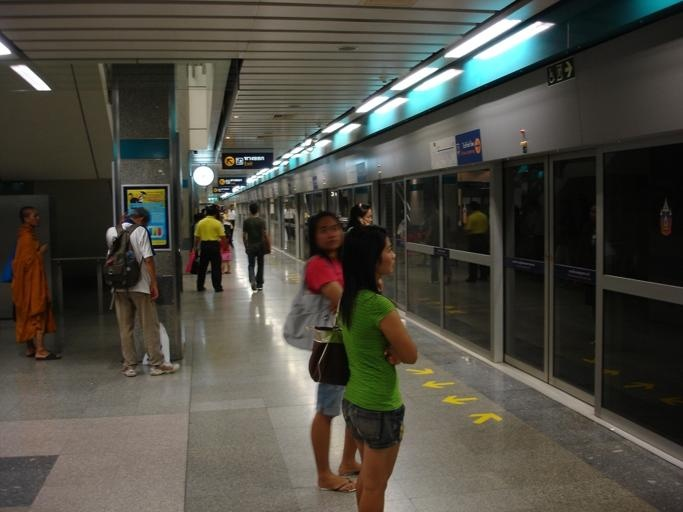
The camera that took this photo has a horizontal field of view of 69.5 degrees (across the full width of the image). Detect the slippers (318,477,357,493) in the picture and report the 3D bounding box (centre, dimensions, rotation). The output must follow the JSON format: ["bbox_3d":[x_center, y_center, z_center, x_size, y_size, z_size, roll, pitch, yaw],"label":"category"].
[{"bbox_3d":[-0.030,1.594,3.426,0.211,0.067,0.113,-1,-2,-4],"label":"slippers"}]

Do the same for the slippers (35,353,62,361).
[{"bbox_3d":[-4.034,1.376,6.690,0.260,0.068,0.124,-1,3,-9],"label":"slippers"}]

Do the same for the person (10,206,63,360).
[{"bbox_3d":[-4.390,0.353,6.883,0.479,2.078,1.030,-6,8,-33],"label":"person"}]

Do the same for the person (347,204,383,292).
[{"bbox_3d":[0.246,-0.096,6.015,0.382,1.144,0.349,8,31,13],"label":"person"}]

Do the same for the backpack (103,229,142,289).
[{"bbox_3d":[-2.578,-0.011,5.820,0.431,0.736,0.427,-1,5,25],"label":"backpack"}]

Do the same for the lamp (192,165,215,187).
[{"bbox_3d":[-5.403,-3.143,19.065,0.674,0.773,1.013,-3,7,-12],"label":"lamp"}]

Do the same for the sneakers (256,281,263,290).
[{"bbox_3d":[-2.143,0.755,12.713,0.187,0.208,0.184,-1,-6,-2],"label":"sneakers"}]

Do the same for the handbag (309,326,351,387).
[{"bbox_3d":[-0.063,0.554,2.857,0.205,0.347,0.344,7,8,17],"label":"handbag"}]

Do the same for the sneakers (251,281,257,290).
[{"bbox_3d":[-2.235,0.733,12.349,0.087,0.256,0.110,-5,20,-19],"label":"sneakers"}]

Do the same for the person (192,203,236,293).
[{"bbox_3d":[-3.424,-0.210,12.647,0.782,2.174,1.175,-4,7,-16],"label":"person"}]

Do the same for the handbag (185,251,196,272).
[{"bbox_3d":[-4.719,0.183,15.134,0.293,0.395,0.565,11,29,0],"label":"handbag"}]

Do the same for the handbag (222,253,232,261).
[{"bbox_3d":[-3.791,0.009,15.964,0.281,0.206,0.281,2,10,16],"label":"handbag"}]

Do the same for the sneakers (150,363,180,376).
[{"bbox_3d":[-2.197,1.392,6.067,0.330,0.148,0.126,-5,8,-30],"label":"sneakers"}]
